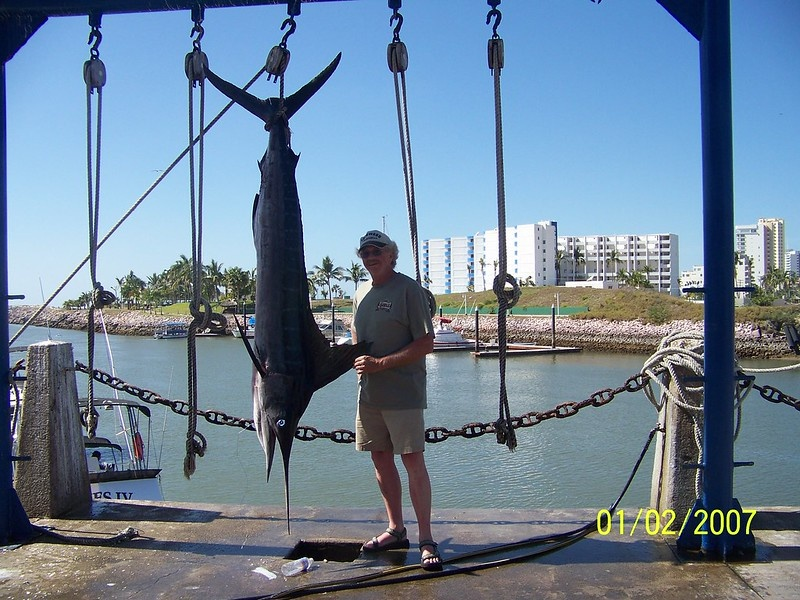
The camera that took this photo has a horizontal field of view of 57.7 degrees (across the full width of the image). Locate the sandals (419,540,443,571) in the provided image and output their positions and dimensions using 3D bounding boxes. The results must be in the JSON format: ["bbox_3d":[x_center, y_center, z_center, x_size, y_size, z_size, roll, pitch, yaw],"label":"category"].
[{"bbox_3d":[0.181,1.528,4.347,0.159,0.154,0.149,-1,-3,15],"label":"sandals"}]

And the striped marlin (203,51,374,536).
[{"bbox_3d":[-0.650,-0.049,4.118,0.755,2.823,0.573,0,-2,-5],"label":"striped marlin"}]

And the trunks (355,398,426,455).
[{"bbox_3d":[-0.080,0.700,4.636,0.477,0.490,0.297,-4,-10,41],"label":"trunks"}]

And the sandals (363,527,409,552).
[{"bbox_3d":[-0.082,1.530,4.643,0.339,0.164,0.120,0,-8,-5],"label":"sandals"}]
